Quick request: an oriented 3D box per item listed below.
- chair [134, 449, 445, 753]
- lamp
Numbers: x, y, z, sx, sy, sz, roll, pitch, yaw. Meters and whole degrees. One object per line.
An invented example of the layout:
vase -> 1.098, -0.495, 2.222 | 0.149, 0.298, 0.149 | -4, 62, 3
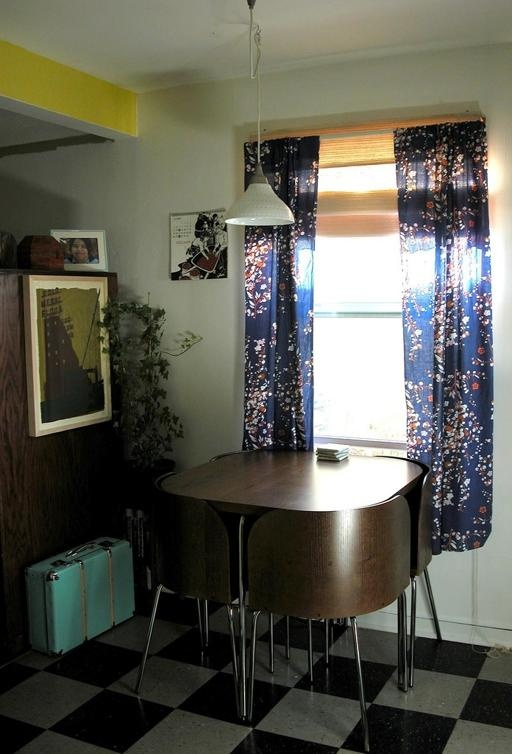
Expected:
chair -> 0.165, 0.757, 2.412 | 0.808, 0.786, 0.844 | 0, 2, 31
lamp -> 0.020, -0.993, 2.646 | 0.245, 0.877, 0.851 | 0, 1, 3
